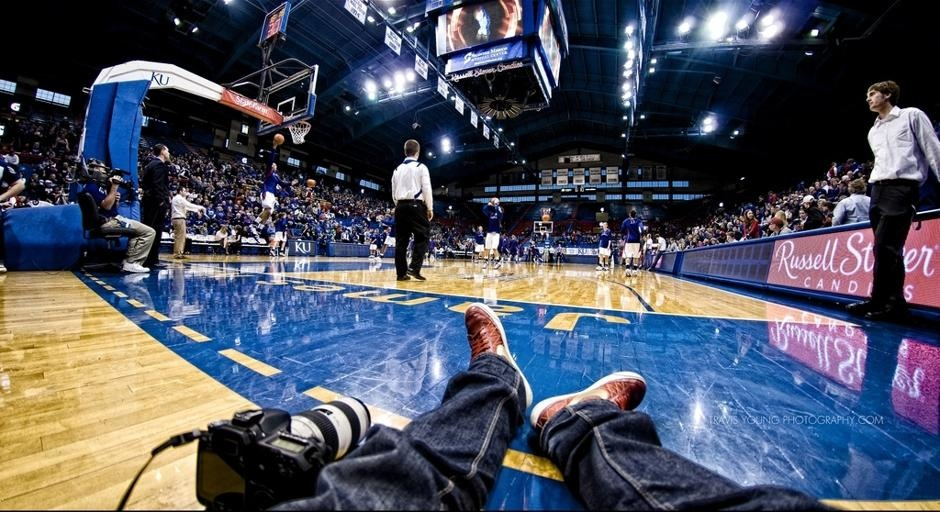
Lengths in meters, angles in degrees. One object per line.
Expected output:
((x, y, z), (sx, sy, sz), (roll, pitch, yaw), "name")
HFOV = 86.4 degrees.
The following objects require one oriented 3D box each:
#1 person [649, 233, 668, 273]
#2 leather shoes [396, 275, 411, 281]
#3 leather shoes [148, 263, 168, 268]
((10.103, -0.078, 27.059), (0.859, 0.733, 2.506), (-19, 1, 27), "person")
((-2.188, 0.736, 16.515), (0.189, 0.190, 0.475), (0, -4, 29), "leather shoes")
((-10.375, 0.345, 16.685), (0.570, 0.219, 0.185), (3, -4, -33), "leather shoes")
